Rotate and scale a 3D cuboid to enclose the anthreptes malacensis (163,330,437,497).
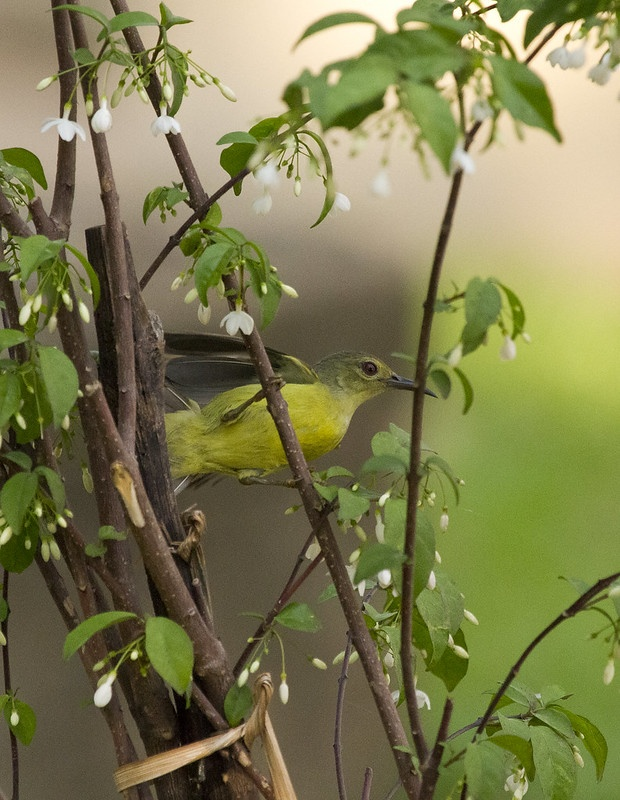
[{"bbox_3d":[0.035,0.029,1.229,0.421,0.165,0.156,8,-14,-6],"label":"anthreptes malacensis"}]
